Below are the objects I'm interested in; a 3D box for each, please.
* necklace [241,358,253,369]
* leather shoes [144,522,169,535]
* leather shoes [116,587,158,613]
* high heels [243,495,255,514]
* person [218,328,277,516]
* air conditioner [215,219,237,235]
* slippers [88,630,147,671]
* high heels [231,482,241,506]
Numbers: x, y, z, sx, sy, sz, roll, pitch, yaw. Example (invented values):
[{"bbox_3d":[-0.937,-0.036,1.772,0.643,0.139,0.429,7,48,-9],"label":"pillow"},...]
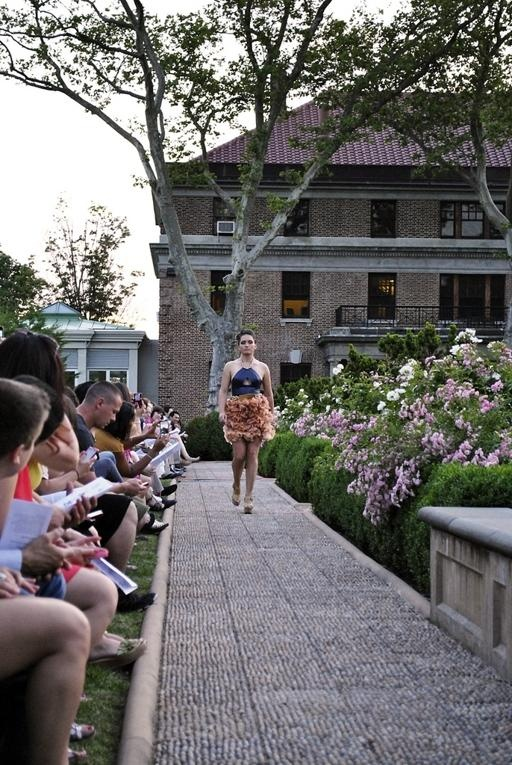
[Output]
[{"bbox_3d":[-0.125,-0.276,9.610,0.142,0.136,0.140,1,-2,-8],"label":"necklace"},{"bbox_3d":[-1.010,1.427,6.748,0.289,0.105,0.127,-6,-42,-6],"label":"leather shoes"},{"bbox_3d":[-0.731,1.333,4.086,0.271,0.097,0.190,-9,-34,-10],"label":"leather shoes"},{"bbox_3d":[-0.099,1.588,8.797,0.118,0.230,0.269,-1,2,-3],"label":"high heels"},{"bbox_3d":[-0.128,0.528,9.492,0.761,2.510,1.544,-1,2,0],"label":"person"},{"bbox_3d":[-1.426,-7.079,30.922,0.806,0.744,0.563,-1,2,-2],"label":"air conditioner"},{"bbox_3d":[-0.624,1.214,3.117,0.309,0.126,0.112,-7,17,-12],"label":"slippers"},{"bbox_3d":[-0.261,1.545,9.536,0.130,0.159,0.377,3,8,1],"label":"high heels"}]
